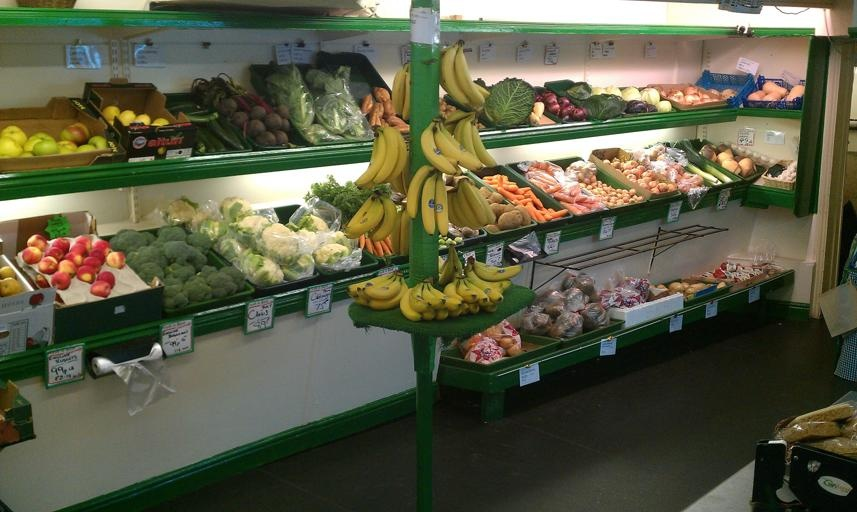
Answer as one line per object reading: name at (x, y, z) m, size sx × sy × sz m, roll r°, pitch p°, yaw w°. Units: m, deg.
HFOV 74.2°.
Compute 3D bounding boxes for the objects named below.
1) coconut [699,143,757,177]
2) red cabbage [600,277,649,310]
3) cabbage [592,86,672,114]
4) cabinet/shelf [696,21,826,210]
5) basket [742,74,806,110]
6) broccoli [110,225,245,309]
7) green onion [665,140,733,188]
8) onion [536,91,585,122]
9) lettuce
coconut at (3.379, -1.079, 6.356) m, size 0.526 × 0.175 × 0.388 m, roll 34°, pitch 53°, yaw 14°
red cabbage at (1.897, 0.386, 5.478) m, size 0.452 × 0.149 × 0.569 m, roll -13°, pitch 15°, yaw 4°
cabbage at (2.236, -1.727, 6.273) m, size 1.140 × 0.307 × 0.695 m, roll 0°, pitch 18°, yaw 11°
cabinet/shelf at (3.831, -1.416, 6.274) m, size 0.821 × 1.694 × 0.714 m, roll 21°, pitch -3°, yaw -29°
basket at (3.760, -1.768, 6.139) m, size 0.638 × 0.386 × 0.384 m, roll 5°, pitch 6°, yaw 38°
broccoli at (-1.647, 0.069, 3.822) m, size 0.680 × 0.617 × 0.506 m, roll 2°, pitch -1°, yaw 3°
green onion at (3.009, -0.977, 6.227) m, size 0.881 × 0.267 × 0.185 m, roll 34°, pitch 63°, yaw 24°
onion at (1.248, -1.411, 5.403) m, size 0.471 × 0.260 × 0.164 m, roll 35°, pitch 15°, yaw 12°
lettuce at (-0.881, -1.195, 4.413) m, size 0.723 × 0.686 × 0.241 m, roll -21°, pitch -18°, yaw -32°
